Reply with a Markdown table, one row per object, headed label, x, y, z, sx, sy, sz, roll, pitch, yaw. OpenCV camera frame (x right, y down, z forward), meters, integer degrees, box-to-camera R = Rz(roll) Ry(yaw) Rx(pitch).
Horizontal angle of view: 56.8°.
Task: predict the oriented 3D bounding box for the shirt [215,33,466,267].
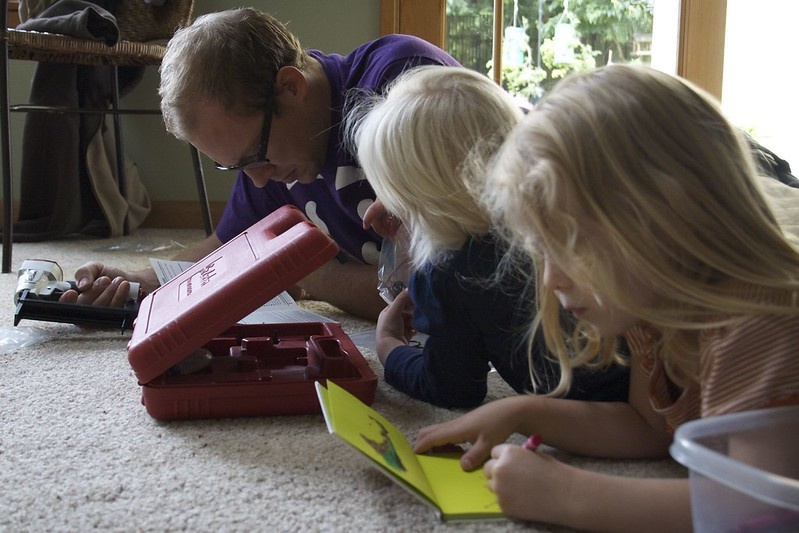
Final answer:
| label | x | y | z | sx | sy | sz | roll | pitch | yaw |
| --- | --- | --- | --- | --- | --- | --- | --- | --- | --- |
| shirt | -0.183 | -0.212 | 1.742 | 0.483 | 0.272 | 0.315 | -19 | 42 | -6 |

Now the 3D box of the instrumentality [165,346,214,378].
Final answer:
| label | x | y | z | sx | sy | sz | roll | pitch | yaw |
| --- | --- | --- | --- | --- | --- | --- | --- | --- | --- |
| instrumentality | -0.331 | 0.154 | 1.171 | 0.046 | 0.019 | 0.046 | -16 | 18 | 11 |

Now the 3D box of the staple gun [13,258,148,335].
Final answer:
| label | x | y | z | sx | sy | sz | roll | pitch | yaw |
| --- | --- | --- | --- | --- | --- | --- | --- | --- | --- |
| staple gun | -0.645 | 0.063 | 1.464 | 0.177 | 0.054 | 0.175 | 3 | 28 | -14 |

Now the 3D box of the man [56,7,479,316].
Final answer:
| label | x | y | z | sx | sy | sz | roll | pitch | yaw |
| --- | --- | --- | --- | --- | --- | --- | --- | --- | --- |
| man | -0.275 | -0.243 | 1.664 | 0.826 | 0.523 | 0.587 | -35 | 26 | -30 |

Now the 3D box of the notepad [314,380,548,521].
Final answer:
| label | x | y | z | sx | sy | sz | roll | pitch | yaw |
| --- | --- | --- | --- | --- | --- | --- | --- | --- | --- |
| notepad | 0.031 | 0.220 | 1.023 | 0.249 | 0.072 | 0.183 | 19 | 6 | -10 |

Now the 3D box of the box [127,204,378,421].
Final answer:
| label | x | y | z | sx | sy | sz | roll | pitch | yaw |
| --- | --- | --- | --- | --- | --- | --- | --- | --- | --- |
| box | -0.241 | 0.076 | 1.267 | 0.368 | 0.260 | 0.360 | -2 | 14 | -12 |

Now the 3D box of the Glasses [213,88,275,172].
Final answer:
| label | x | y | z | sx | sy | sz | roll | pitch | yaw |
| --- | --- | --- | --- | --- | --- | --- | --- | --- | --- |
| Glasses | -0.297 | -0.269 | 1.488 | 0.039 | 0.143 | 0.138 | 7 | -1 | -32 |
